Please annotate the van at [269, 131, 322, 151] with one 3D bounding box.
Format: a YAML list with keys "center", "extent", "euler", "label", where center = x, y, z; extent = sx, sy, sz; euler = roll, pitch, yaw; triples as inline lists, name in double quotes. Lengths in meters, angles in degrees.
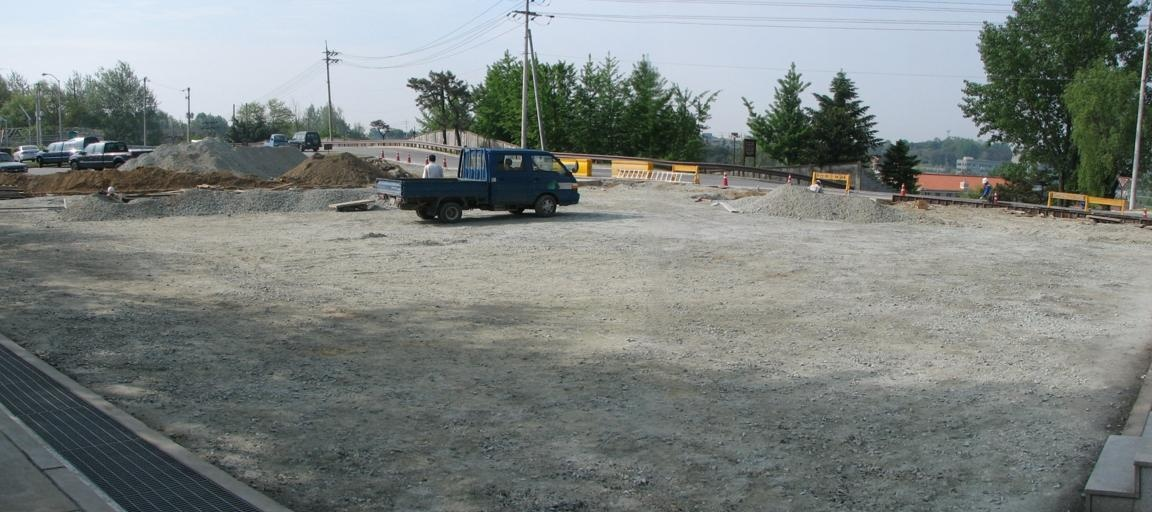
- center: [-32.037, -13.073, 84.038]
  extent: [4.277, 2.258, 7.391]
  euler: [-4, 8, -30]
  label: "van"

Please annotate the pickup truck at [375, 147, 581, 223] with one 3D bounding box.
- center: [-4.546, -3.617, 35.704]
  extent: [8.601, 2.413, 4.143]
  euler: [-4, 11, -27]
  label: "pickup truck"
